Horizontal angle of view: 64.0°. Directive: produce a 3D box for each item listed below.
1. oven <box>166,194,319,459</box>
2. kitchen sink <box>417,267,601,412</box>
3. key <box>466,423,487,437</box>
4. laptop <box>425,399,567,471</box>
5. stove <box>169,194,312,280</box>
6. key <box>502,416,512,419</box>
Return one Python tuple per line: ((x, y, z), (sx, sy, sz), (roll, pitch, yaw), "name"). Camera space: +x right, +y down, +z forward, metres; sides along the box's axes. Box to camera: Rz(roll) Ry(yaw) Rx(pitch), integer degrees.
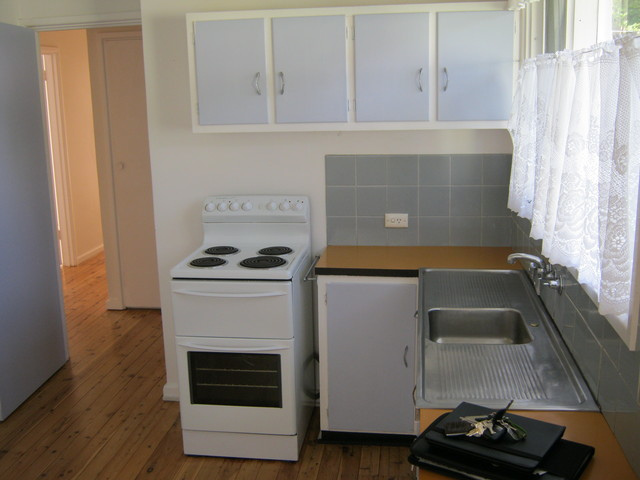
((-0.418, 0.486, 3.184), (0.754, 1.414, 0.798), (-1, 15, 6), "oven")
((0.726, 0.473, 2.300), (0.570, 0.269, 1.330), (-2, 15, 14), "kitchen sink")
((0.458, 0.542, 1.474), (0.034, 0.007, 0.030), (-7, 17, 6), "key")
((0.511, 0.558, 1.469), (0.203, 0.044, 0.217), (9, 12, 31), "laptop")
((-0.459, -0.047, 3.095), (0.649, 0.396, 0.629), (1, 18, 10), "stove")
((0.568, 0.535, 1.553), (0.019, 0.005, 0.018), (-1, -1, 40), "key")
